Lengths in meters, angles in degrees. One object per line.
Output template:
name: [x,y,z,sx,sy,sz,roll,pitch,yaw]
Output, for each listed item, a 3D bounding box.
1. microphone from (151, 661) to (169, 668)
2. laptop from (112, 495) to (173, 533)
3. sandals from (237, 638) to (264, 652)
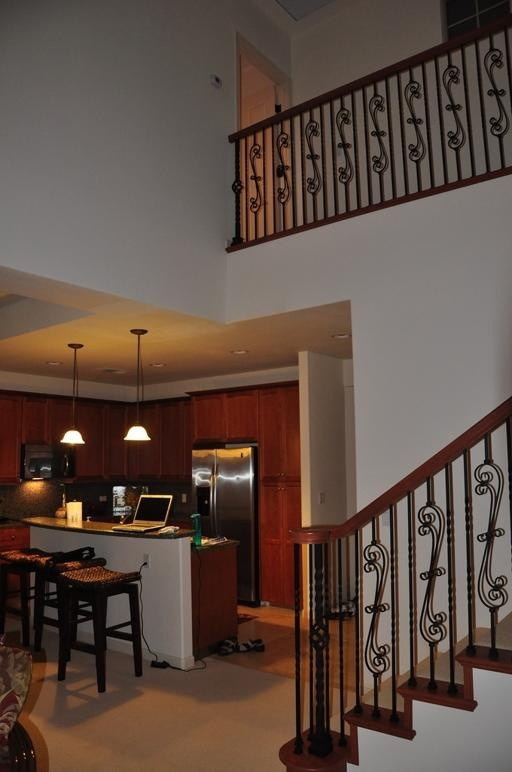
microphone: [-0.711,2.036,4.529,0.083,0.035,0.053,3,6,15]
laptop: [-0.958,1.081,5.198,0.351,0.241,0.342,-6,-10,32]
sandals: [-0.046,2.085,4.951,0.201,0.086,0.077,1,-4,17]
